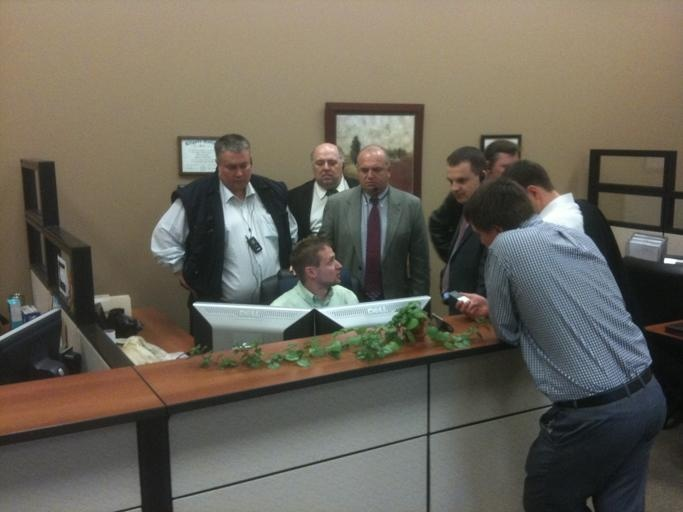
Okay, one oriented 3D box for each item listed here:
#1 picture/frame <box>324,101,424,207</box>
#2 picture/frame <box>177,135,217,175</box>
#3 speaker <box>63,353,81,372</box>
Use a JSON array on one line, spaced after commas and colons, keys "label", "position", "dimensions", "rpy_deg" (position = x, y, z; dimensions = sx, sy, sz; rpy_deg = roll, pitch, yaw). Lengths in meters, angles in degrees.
[{"label": "picture/frame", "position": [0.322, -0.975, 5.038], "dimensions": [0.888, 1.042, 0.052], "rpy_deg": [4, 45, 10]}, {"label": "picture/frame", "position": [-1.217, -0.836, 4.366], "dimensions": [0.377, 0.357, 0.041], "rpy_deg": [2, 4, -16]}, {"label": "speaker", "position": [-1.312, 0.504, 2.553], "dimensions": [0.062, 0.117, 0.062], "rpy_deg": [-1, 28, -12]}]
